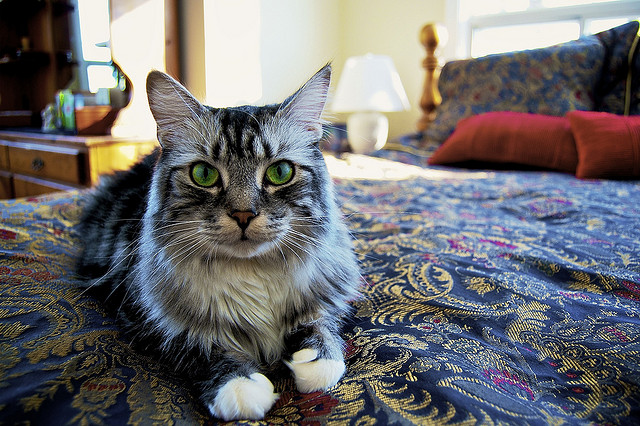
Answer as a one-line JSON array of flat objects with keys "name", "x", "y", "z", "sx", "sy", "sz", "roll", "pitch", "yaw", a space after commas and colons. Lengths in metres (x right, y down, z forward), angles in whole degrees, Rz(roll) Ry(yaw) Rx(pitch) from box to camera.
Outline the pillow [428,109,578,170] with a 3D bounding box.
[{"name": "pillow", "x": 0.999, "y": -0.344, "z": 2.494, "sx": 0.463, "sy": 0.143, "sz": 0.351, "roll": 7, "pitch": 48, "yaw": 43}]

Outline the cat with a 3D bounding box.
[{"name": "cat", "x": -0.300, "y": -0.050, "z": 1.383, "sx": 0.592, "sy": 0.541, "sz": 0.953, "roll": -7, "pitch": 22, "yaw": -21}]

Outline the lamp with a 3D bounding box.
[{"name": "lamp", "x": 0.390, "y": -0.895, "z": 4.116, "sx": 0.849, "sy": 1.076, "sz": 0.855, "roll": 0, "pitch": 5, "yaw": 8}]
